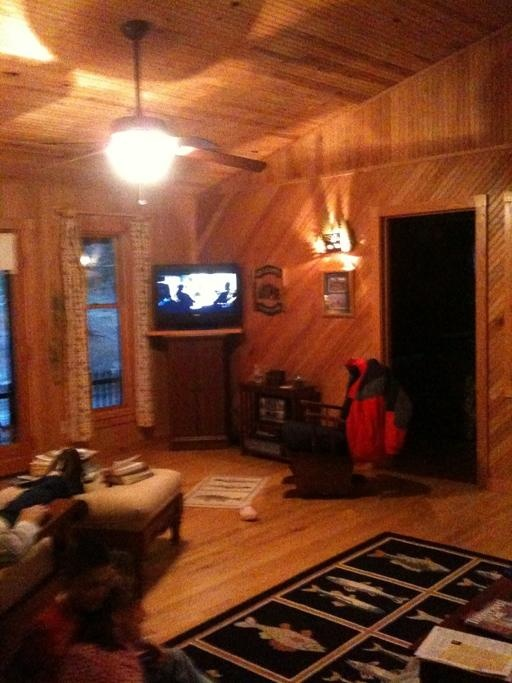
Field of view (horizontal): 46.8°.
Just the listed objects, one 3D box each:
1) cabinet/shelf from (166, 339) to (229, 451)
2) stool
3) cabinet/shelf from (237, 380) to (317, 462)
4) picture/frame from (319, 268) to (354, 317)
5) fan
[{"bbox_3d":[-0.571,0.503,5.913,0.578,0.782,0.183,-1,1,-7],"label":"cabinet/shelf"},{"bbox_3d":[-0.663,0.750,3.068,0.805,0.346,0.516,1,10,19],"label":"stool"},{"bbox_3d":[0.200,0.688,5.164,0.327,0.629,0.799,3,-3,-40],"label":"cabinet/shelf"},{"bbox_3d":[0.715,-0.430,5.174,0.461,0.546,0.083,3,8,43],"label":"picture/frame"},{"bbox_3d":[-0.674,-1.262,3.369,1.200,0.864,0.764,-2,0,-12],"label":"fan"}]
